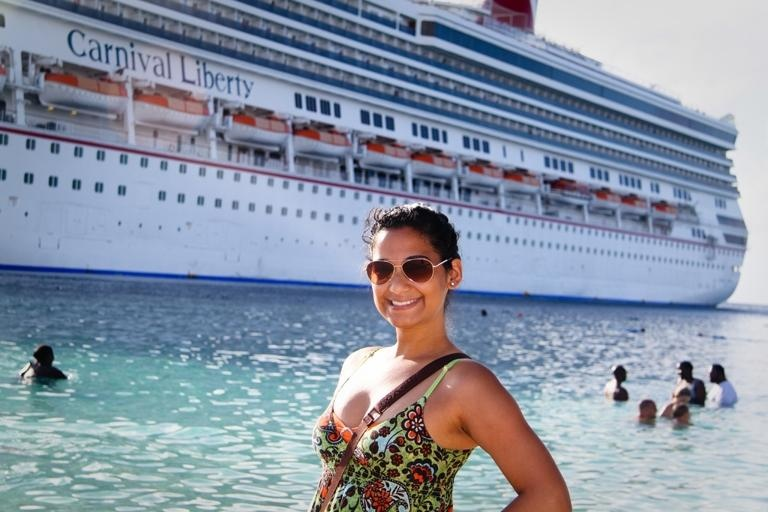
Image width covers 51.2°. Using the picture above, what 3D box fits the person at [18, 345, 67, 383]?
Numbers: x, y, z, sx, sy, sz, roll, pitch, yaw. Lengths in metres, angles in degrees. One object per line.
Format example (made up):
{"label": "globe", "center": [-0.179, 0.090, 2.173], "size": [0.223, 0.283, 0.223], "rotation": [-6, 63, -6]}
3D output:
{"label": "person", "center": [-7.133, 2.218, 16.781], "size": [1.075, 0.689, 0.527], "rotation": [5, -1, 10]}
